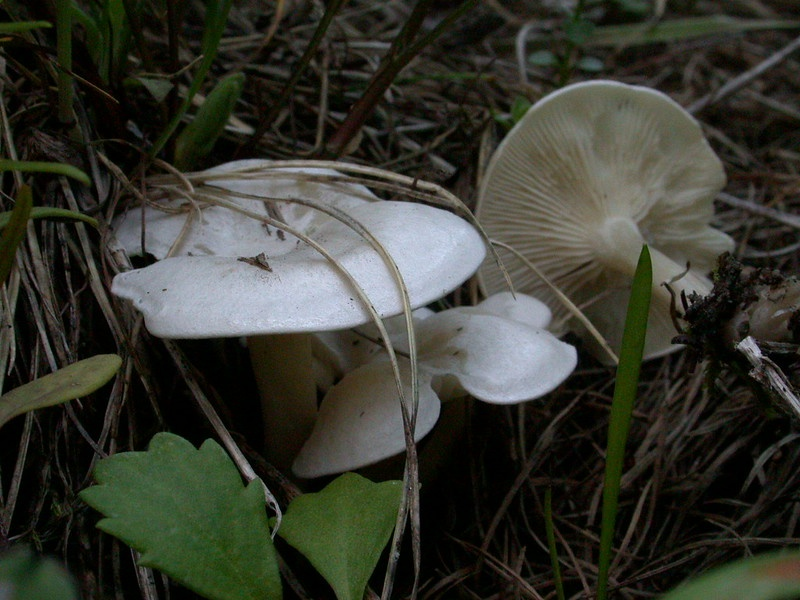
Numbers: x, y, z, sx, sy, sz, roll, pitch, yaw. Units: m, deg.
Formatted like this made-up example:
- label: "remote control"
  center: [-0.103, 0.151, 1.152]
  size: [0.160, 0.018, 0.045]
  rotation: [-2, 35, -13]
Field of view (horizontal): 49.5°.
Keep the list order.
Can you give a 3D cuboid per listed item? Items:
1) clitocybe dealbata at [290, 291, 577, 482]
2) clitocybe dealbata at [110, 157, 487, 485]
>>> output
- label: "clitocybe dealbata"
  center: [0.079, 0.218, 2.245]
  size: [0.577, 0.131, 0.579]
  rotation: [-3, 29, 46]
- label: "clitocybe dealbata"
  center: [-0.274, -0.158, 2.216]
  size: [0.910, 0.206, 0.720]
  rotation: [-7, 31, -19]
